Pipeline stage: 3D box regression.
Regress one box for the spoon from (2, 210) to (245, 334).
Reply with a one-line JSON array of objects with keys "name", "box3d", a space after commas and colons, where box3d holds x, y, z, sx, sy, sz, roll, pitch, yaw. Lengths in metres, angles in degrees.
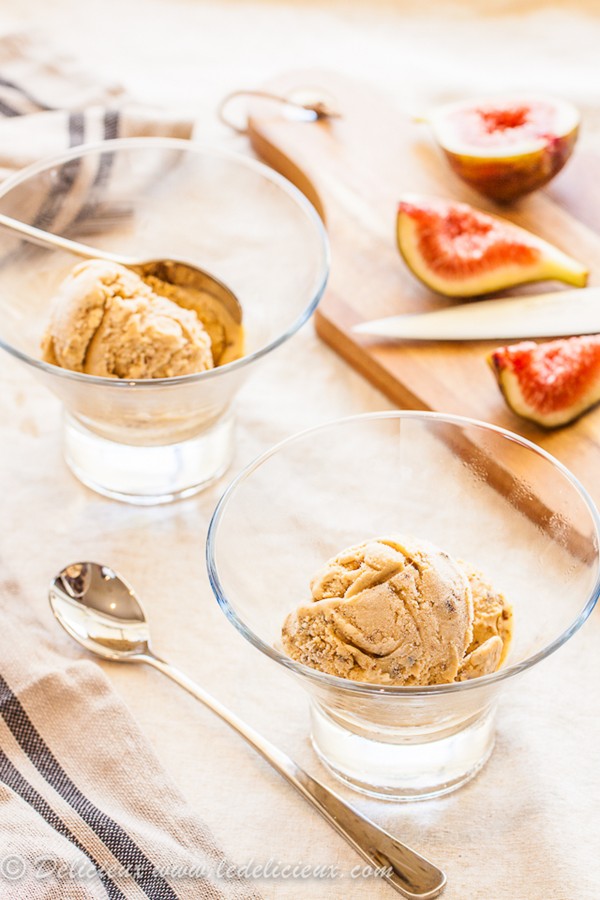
[{"name": "spoon", "box3d": [-0.223, -0.221, 1.141, 0.383, 0.047, 0.074, 20, 33, -17]}]
